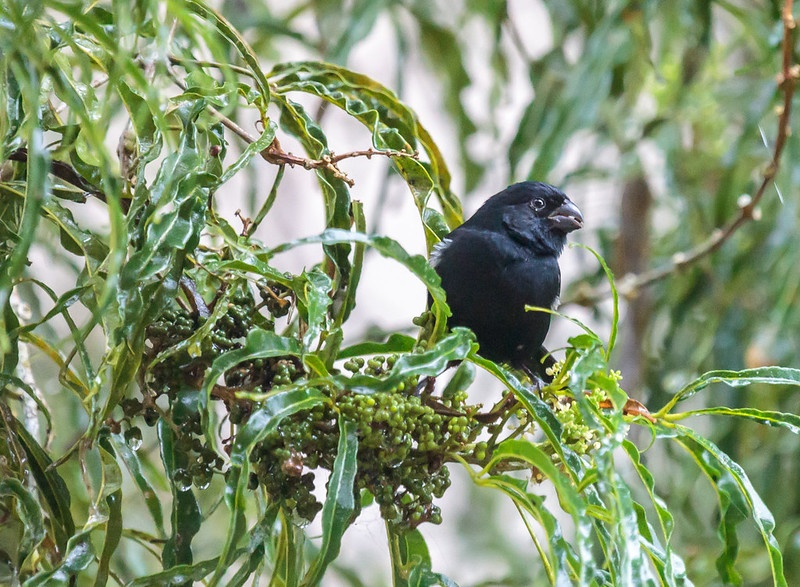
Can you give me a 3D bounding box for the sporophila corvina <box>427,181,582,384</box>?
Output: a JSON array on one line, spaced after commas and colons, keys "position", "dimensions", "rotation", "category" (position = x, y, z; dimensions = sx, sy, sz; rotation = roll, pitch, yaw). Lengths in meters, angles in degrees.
[{"position": [0.357, -0.083, 3.558], "dimensions": [0.424, 0.550, 0.633], "rotation": [8, -89, -26], "category": "sporophila corvina"}]
